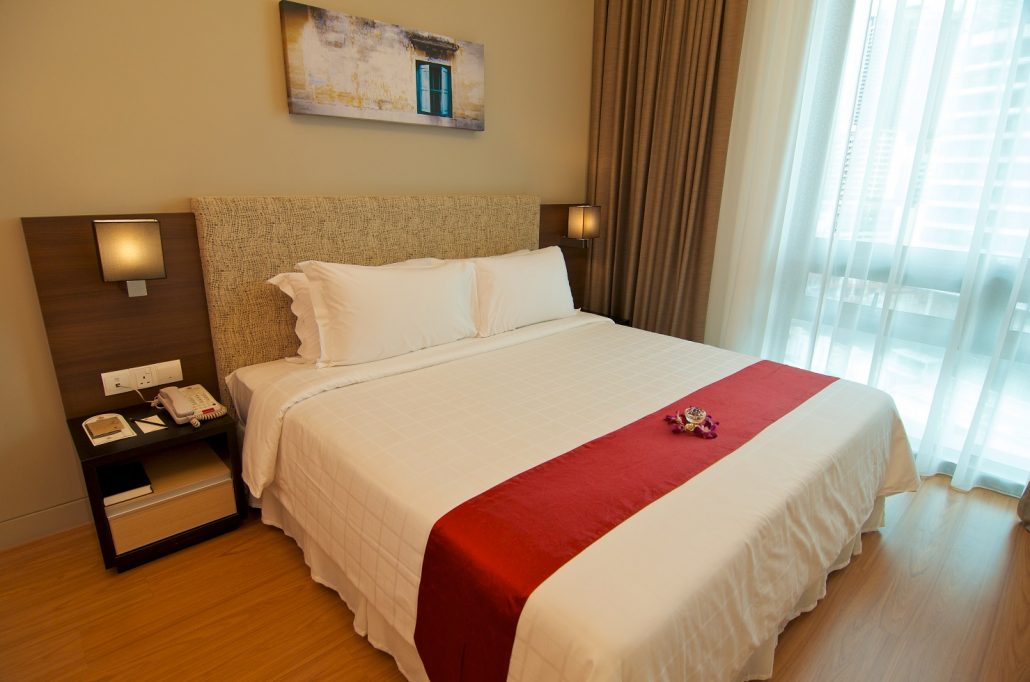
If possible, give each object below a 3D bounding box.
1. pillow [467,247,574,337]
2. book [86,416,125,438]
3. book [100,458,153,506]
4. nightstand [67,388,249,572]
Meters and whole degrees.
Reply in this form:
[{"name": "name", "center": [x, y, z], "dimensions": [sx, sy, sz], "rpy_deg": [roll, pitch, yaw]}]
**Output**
[{"name": "pillow", "center": [-0.042, -0.269, 4.346], "dimensions": [0.932, 0.523, 0.242], "rpy_deg": [-10, 0, -38]}, {"name": "book", "center": [-2.101, 0.434, 3.256], "dimensions": [0.156, 0.039, 0.188], "rpy_deg": [-15, 25, -36]}, {"name": "book", "center": [-2.041, 0.728, 3.325], "dimensions": [0.211, 0.069, 0.346], "rpy_deg": [-13, 24, -32]}, {"name": "nightstand", "center": [-1.865, 0.792, 3.567], "dimensions": [0.820, 0.815, 0.837], "rpy_deg": [-19, 29, -36]}]
